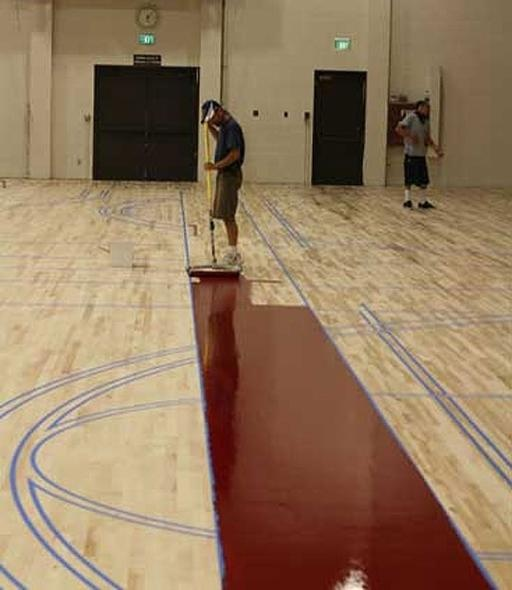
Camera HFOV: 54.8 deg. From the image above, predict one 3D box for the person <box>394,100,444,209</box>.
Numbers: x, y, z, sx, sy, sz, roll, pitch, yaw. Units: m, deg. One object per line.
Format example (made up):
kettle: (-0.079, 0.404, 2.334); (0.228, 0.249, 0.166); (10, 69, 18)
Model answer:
person: (2.761, -2.404, 8.434); (0.583, 1.881, 0.439); (1, 0, -12)

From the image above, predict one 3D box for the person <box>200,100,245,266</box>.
person: (-0.329, -1.109, 4.937); (0.409, 1.622, 0.592); (-3, 9, -17)
